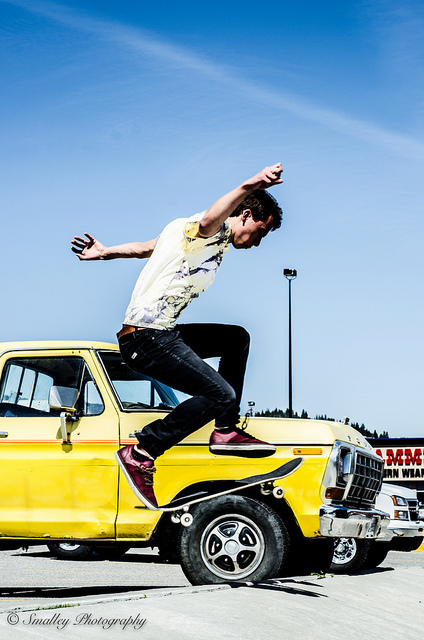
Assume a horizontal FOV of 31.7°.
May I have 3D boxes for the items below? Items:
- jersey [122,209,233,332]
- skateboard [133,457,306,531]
[{"bbox_3d":[-0.215,-0.309,4.730,0.316,0.780,0.628,31,8,-18],"label":"jersey"},{"bbox_3d":[0.044,1.209,5.170,1.186,0.171,0.262,-17,-2,-2],"label":"skateboard"}]
